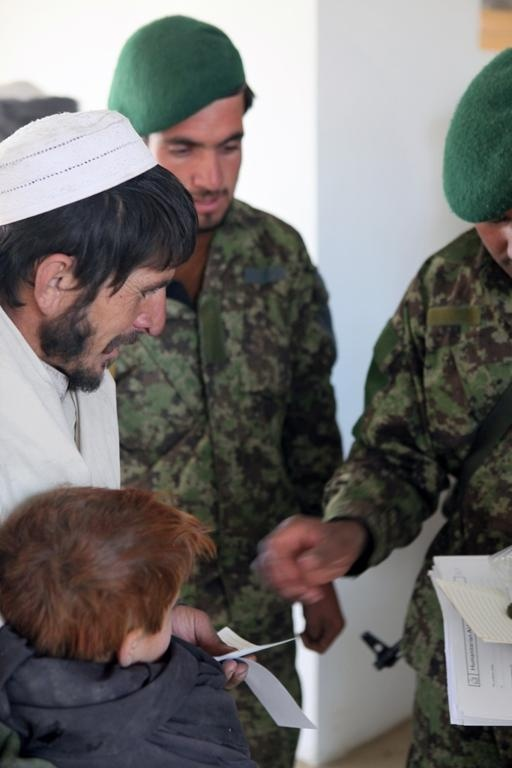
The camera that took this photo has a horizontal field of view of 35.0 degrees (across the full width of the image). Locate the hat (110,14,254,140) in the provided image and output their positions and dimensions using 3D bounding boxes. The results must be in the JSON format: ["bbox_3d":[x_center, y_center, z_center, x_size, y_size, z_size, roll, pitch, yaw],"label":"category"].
[{"bbox_3d":[-0.134,-0.550,1.500,0.191,0.187,0.239,-13,49,-10],"label":"hat"}]
